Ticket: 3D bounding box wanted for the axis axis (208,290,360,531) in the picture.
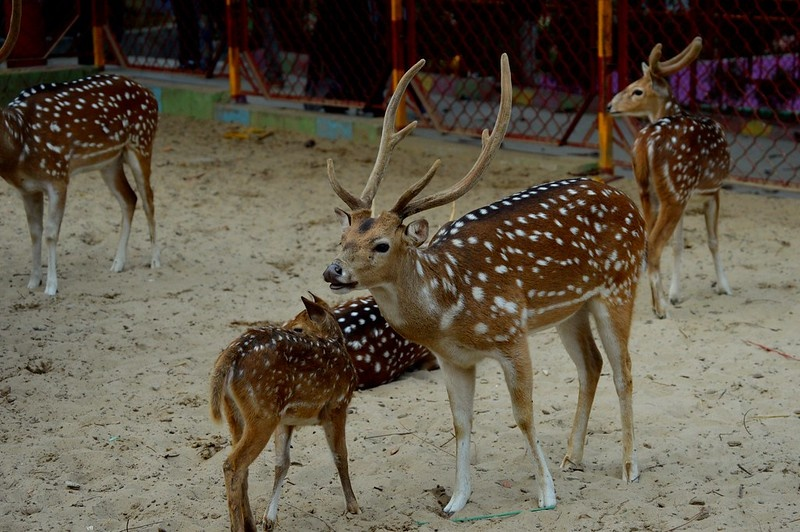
[{"bbox_3d":[-0.844,1.047,7.925,1.090,1.519,0.887,-2,18,-15],"label":"axis axis"}]
